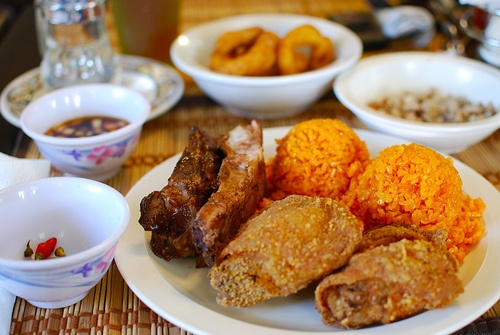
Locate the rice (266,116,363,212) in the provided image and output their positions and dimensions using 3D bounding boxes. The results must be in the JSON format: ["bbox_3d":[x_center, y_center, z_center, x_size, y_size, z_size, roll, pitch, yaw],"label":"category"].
[{"bbox_3d":[0.264,-0.022,1.757,0.347,0.322,0.322,-3,9,-2],"label":"rice"}]

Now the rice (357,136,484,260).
[{"bbox_3d":[0.604,0.099,1.465,0.408,0.161,0.378,12,66,3],"label":"rice"}]

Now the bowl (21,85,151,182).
[{"bbox_3d":[-0.689,-0.180,1.758,0.457,0.258,0.463,1,38,-1],"label":"bowl"}]
